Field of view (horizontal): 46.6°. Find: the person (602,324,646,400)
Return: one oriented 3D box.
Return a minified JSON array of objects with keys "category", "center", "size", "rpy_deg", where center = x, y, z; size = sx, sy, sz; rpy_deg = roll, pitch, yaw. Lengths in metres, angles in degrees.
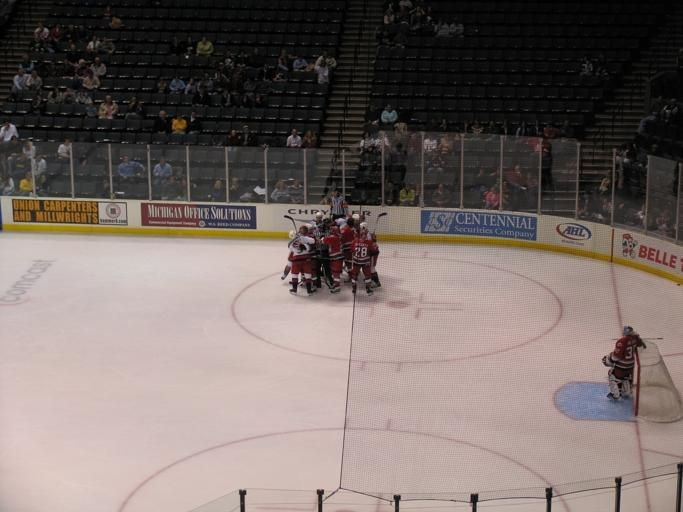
[{"category":"person","center":[4.475,1.701,12.607],"size":[0.612,1.223,0.471],"rpy_deg":[4,7,20]}]

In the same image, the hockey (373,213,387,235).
[{"category":"hockey","center":[0.991,-0.827,20.340],"size":[0.342,0.600,0.328],"rpy_deg":[2,7,7]}]

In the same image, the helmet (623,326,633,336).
[{"category":"helmet","center":[4.494,1.175,12.461],"size":[0.141,0.145,0.233],"rpy_deg":[4,6,19]}]
